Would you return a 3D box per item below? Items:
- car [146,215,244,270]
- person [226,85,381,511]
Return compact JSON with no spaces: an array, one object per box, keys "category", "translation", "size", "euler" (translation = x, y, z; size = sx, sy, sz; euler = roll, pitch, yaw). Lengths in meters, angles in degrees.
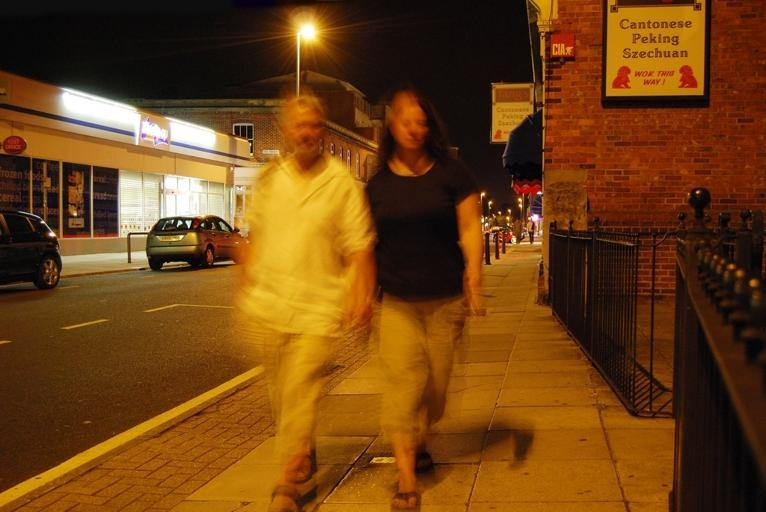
[{"category":"car","translation":[-6.014,-0.374,21.720],"size":[1.710,1.284,3.521],"euler":[-2,4,15]},{"category":"person","translation":[-0.526,0.294,4.701],"size":[0.864,2.736,0.585],"euler":[-5,8,-28]}]
